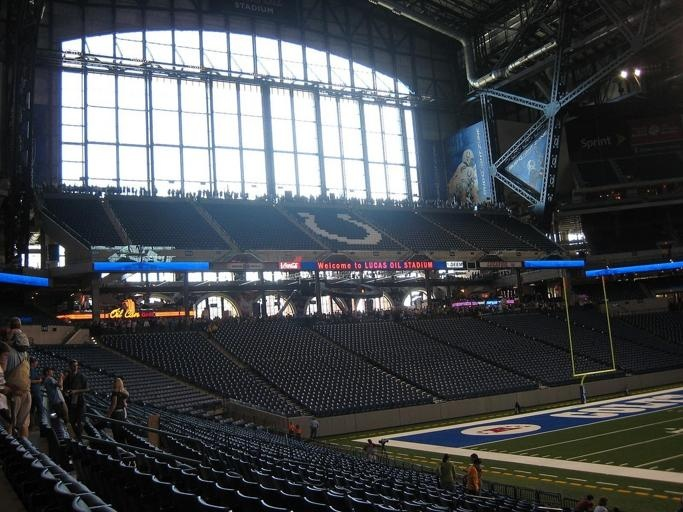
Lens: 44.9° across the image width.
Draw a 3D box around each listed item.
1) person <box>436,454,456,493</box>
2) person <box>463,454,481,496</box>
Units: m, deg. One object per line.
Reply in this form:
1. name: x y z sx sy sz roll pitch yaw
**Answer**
1. person: 4.343 9.200 34.401 0.629 2.080 0.536 0 14 18
2. person: 5.412 9.138 34.011 0.686 2.025 0.693 2 14 24
